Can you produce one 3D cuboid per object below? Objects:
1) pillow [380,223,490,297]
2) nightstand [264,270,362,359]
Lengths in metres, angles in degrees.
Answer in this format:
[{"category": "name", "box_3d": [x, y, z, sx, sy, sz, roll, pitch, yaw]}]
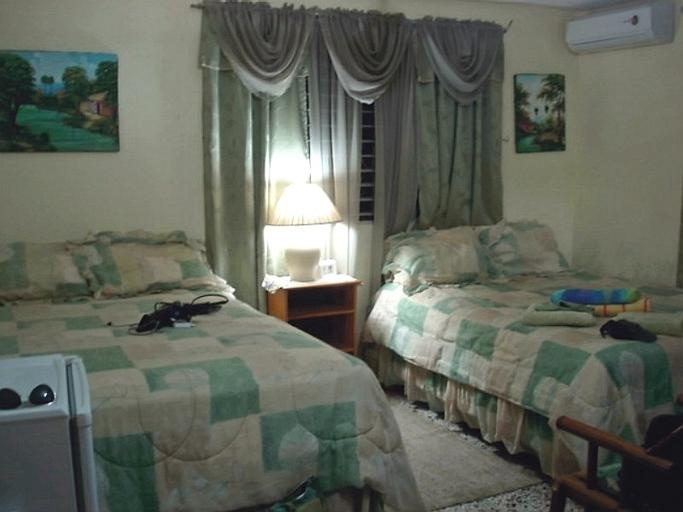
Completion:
[{"category": "pillow", "box_3d": [0.641, 0.011, 4.161, 0.504, 0.165, 0.524, -9, 22, -8]}, {"category": "nightstand", "box_3d": [-0.254, 0.369, 4.200, 0.770, 0.764, 0.502, -2, 5, -28]}]
